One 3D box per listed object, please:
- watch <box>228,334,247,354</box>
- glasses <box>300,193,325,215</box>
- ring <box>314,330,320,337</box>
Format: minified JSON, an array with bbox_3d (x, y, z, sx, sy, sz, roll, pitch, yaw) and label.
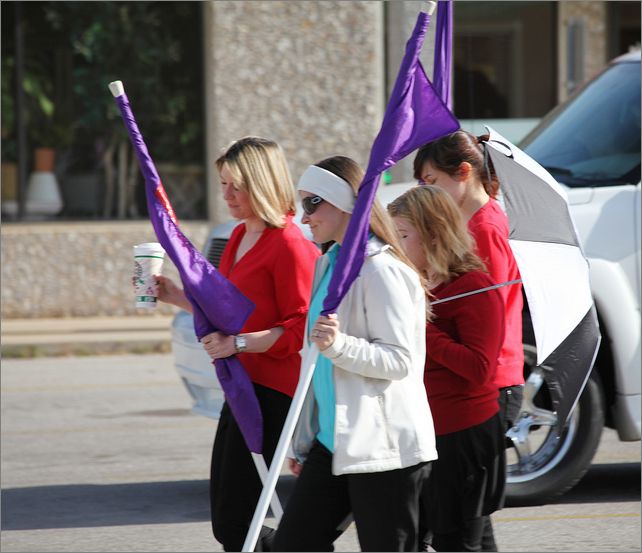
[{"bbox_3d":[-0.484,0.408,8.961,0.079,0.094,0.101,-5,10,-17],"label":"watch"},{"bbox_3d":[-0.049,-0.411,8.488,0.106,0.048,0.118,9,-23,39],"label":"glasses"},{"bbox_3d":[-0.021,0.314,8.276,0.038,0.030,0.010,2,-2,30],"label":"ring"}]
